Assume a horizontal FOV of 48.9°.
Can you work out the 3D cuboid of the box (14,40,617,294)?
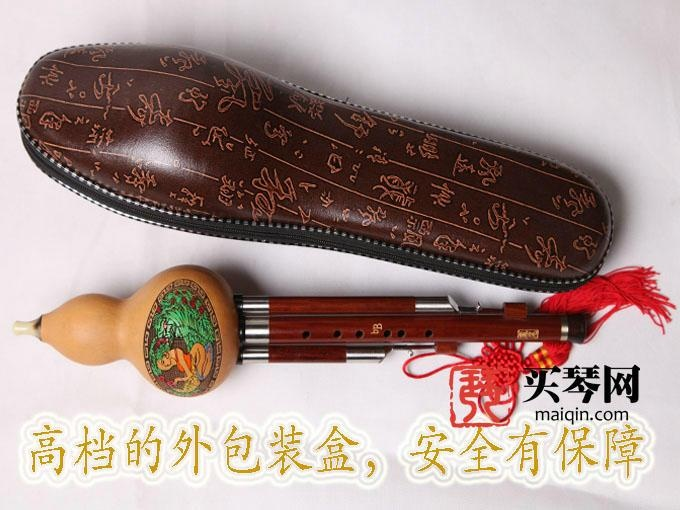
[{"bbox_3d":[-0.038,-0.120,1.716,1.541,0.482,0.276,13,-13,-12],"label":"box"}]

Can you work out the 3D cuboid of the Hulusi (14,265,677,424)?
[{"bbox_3d":[-0.050,0.195,1.648,0.971,0.210,0.206,5,26,-4],"label":"Hulusi"}]
